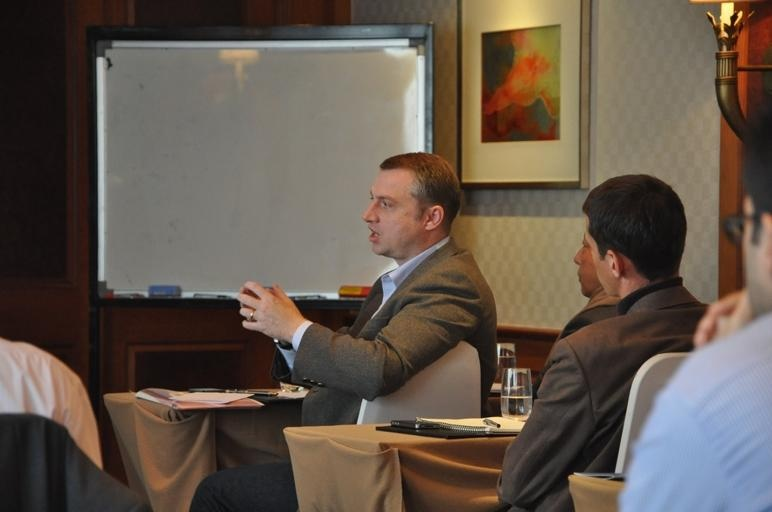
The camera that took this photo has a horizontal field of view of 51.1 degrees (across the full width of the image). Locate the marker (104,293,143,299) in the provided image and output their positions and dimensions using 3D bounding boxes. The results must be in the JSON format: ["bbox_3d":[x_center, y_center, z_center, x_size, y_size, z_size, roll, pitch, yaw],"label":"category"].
[{"bbox_3d":[-1.305,0.197,4.049,0.194,0.025,0.020,2,0,0],"label":"marker"}]

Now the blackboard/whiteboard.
[{"bbox_3d":[-0.612,-0.473,3.910,1.164,1.049,0.093,-1,3,2],"label":"blackboard/whiteboard"}]

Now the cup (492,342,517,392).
[{"bbox_3d":[0.443,0.410,3.017,0.090,0.140,0.096,-9,-9,-1],"label":"cup"}]

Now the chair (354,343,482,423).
[{"bbox_3d":[0.146,0.414,2.509,0.229,0.285,0.296,3,-10,-13],"label":"chair"}]

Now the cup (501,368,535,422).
[{"bbox_3d":[0.400,0.427,2.480,0.094,0.158,0.094,2,-5,0],"label":"cup"}]

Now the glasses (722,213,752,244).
[{"bbox_3d":[0.432,-0.035,0.998,0.027,0.024,0.032,6,-11,-26],"label":"glasses"}]

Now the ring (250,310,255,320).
[{"bbox_3d":[-0.427,0.190,2.581,0.014,0.023,0.041,2,0,-17],"label":"ring"}]
